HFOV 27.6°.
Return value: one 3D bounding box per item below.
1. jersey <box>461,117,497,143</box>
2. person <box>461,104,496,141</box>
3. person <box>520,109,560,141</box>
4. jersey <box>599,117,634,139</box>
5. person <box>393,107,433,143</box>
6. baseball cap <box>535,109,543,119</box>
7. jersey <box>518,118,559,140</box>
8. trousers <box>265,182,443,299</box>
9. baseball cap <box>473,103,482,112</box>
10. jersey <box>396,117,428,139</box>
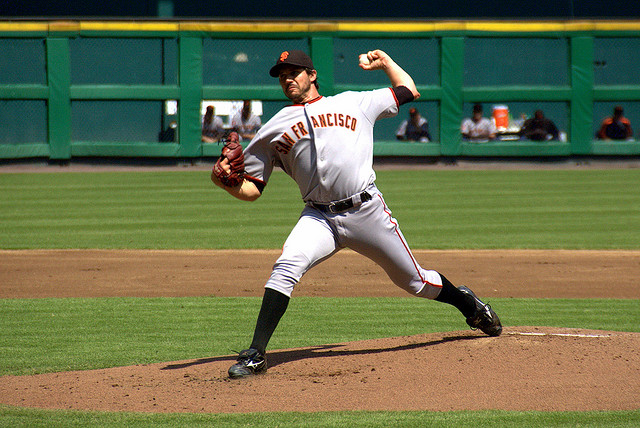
[{"bbox_3d":[3.443,-1.829,28.019,0.542,0.377,0.184,-1,12,-1],"label":"jersey"},{"bbox_3d":[3.401,-1.918,28.035,0.867,0.804,0.515,-2,15,4],"label":"person"},{"bbox_3d":[4.767,-1.897,28.024,0.593,1.039,0.379,-4,-13,17],"label":"person"},{"bbox_3d":[6.387,-1.815,27.899,0.874,0.560,0.417,3,20,10],"label":"jersey"},{"bbox_3d":[2.005,-1.756,28.120,0.790,0.955,0.563,3,12,7],"label":"person"},{"bbox_3d":[4.730,-2.150,28.047,0.161,0.200,0.099,1,5,7],"label":"baseball cap"},{"bbox_3d":[4.726,-1.863,28.009,0.503,0.561,0.191,2,11,17],"label":"jersey"},{"bbox_3d":[0.788,0.398,19.865,3.548,2.063,1.019,-10,-1,-35],"label":"trousers"},{"bbox_3d":[3.390,-2.285,27.899,0.168,0.174,0.230,1,5,13],"label":"baseball cap"},{"bbox_3d":[1.991,-1.842,28.144,0.785,0.521,0.419,1,5,10],"label":"jersey"}]
